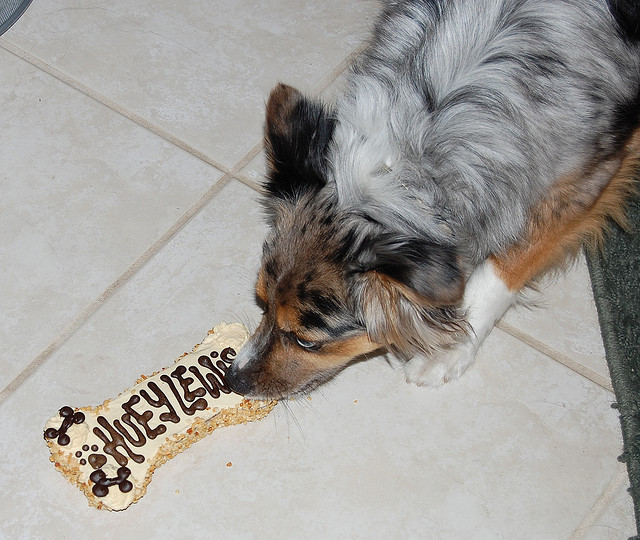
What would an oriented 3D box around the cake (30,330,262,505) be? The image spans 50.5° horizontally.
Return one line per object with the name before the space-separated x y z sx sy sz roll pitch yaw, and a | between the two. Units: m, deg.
cake | -0.757 0.702 3.294 1.068 0.251 0.590 -28 63 -22
